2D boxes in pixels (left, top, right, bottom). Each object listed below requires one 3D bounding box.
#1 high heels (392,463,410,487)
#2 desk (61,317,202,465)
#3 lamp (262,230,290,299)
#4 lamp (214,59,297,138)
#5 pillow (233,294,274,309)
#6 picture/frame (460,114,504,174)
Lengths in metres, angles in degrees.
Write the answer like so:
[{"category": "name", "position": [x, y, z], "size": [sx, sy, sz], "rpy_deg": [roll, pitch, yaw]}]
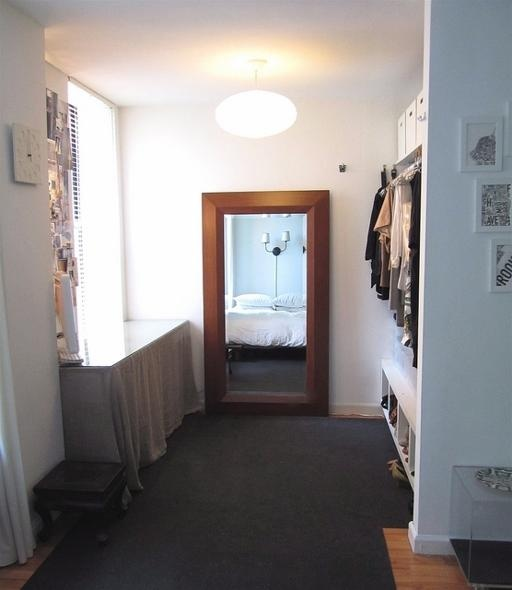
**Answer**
[{"category": "high heels", "position": [0.804, 1.006, 2.774], "size": [0.087, 0.093, 0.136], "rpy_deg": [-2, 9, -5]}, {"category": "desk", "position": [-0.711, 0.568, 3.158], "size": [0.382, 0.627, 1.110], "rpy_deg": [1, 8, 16]}, {"category": "lamp", "position": [0.165, -0.183, 4.038], "size": [0.190, 0.783, 0.171], "rpy_deg": [-2, 33, 2]}, {"category": "lamp", "position": [-0.008, -0.925, 2.555], "size": [0.359, 0.171, 0.317], "rpy_deg": [-6, 9, -38]}, {"category": "pillow", "position": [-0.025, 0.048, 3.932], "size": [0.316, 0.121, 0.026], "rpy_deg": [2, 6, 15]}, {"category": "picture/frame", "position": [0.926, -0.624, 2.040], "size": [0.166, 0.314, 0.011], "rpy_deg": [0, 4, 10]}]
